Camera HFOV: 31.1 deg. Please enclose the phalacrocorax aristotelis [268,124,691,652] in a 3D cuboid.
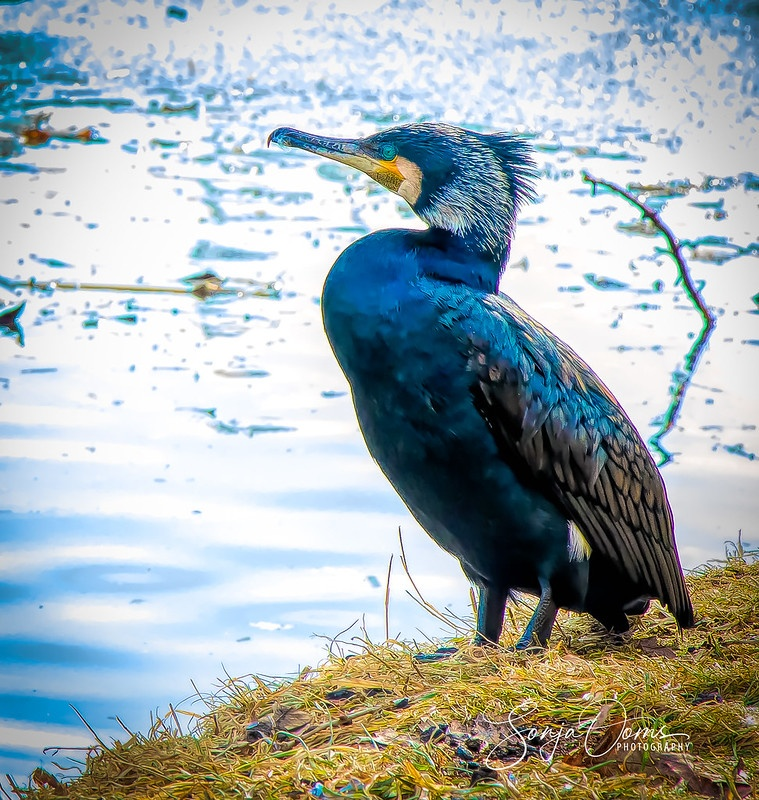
[{"bbox_3d":[0.274,-0.032,3.339,0.972,1.280,0.324,3,-2,-18],"label":"phalacrocorax aristotelis"}]
